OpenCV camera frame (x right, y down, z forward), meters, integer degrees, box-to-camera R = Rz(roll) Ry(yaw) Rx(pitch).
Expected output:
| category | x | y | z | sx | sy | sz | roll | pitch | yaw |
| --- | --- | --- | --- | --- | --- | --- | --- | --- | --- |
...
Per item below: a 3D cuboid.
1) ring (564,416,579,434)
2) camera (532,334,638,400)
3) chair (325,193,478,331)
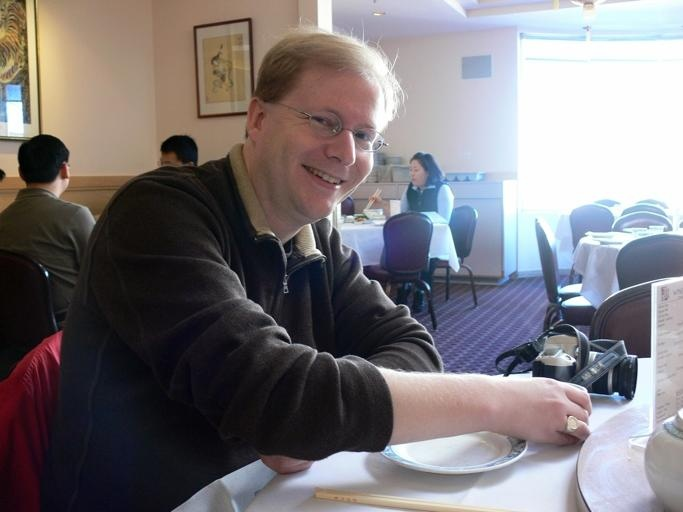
| category | x | y | z | sx | sy | sz | roll | pitch | yaw |
| --- | --- | --- | --- | --- | --- | --- | --- | --- | --- |
| ring | 0.401 | 0.295 | 0.881 | 0.023 | 0.026 | 0.007 | -25 | 14 | -25 |
| camera | 0.512 | 0.201 | 1.065 | 0.155 | 0.100 | 0.151 | 0 | 3 | 31 |
| chair | 0.575 | 0.014 | 5.075 | 0.979 | 1.851 | 1.118 | 2 | 20 | 5 |
